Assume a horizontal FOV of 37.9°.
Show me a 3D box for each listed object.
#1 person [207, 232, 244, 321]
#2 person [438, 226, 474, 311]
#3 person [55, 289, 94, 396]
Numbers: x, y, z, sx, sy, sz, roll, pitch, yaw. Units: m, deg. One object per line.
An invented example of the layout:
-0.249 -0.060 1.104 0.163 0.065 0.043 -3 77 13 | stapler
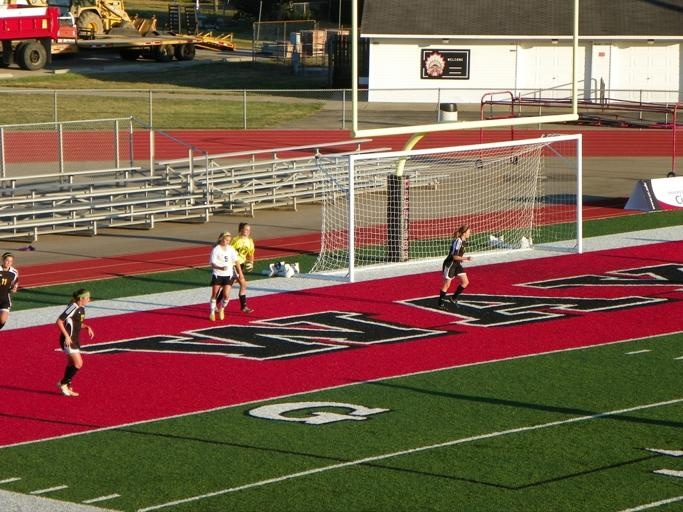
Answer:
-2.253 0.347 18.795 0.616 1.677 1.198 -3 12 -7 | person
2.168 0.141 19.370 0.575 1.580 1.287 0 12 5 | person
-4.143 1.332 15.249 0.560 1.632 0.685 -3 13 -6 | person
